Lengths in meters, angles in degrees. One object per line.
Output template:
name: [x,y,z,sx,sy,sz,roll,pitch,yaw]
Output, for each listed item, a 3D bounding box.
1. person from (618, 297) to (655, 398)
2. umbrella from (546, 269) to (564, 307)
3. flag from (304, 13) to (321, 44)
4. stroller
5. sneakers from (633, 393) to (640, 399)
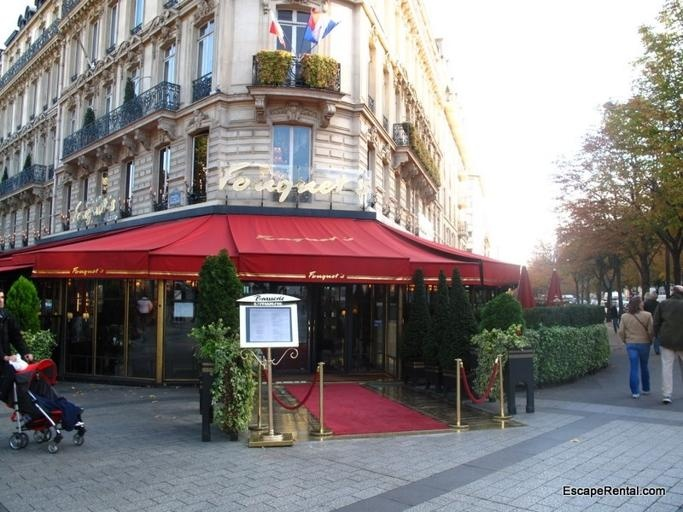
person: [6.880,2.096,14.052,0.724,2.334,0.624,0,-1,-7]
umbrella: [6.641,0.975,18.789,0.387,1.100,1.650,-1,-1,20]
flag: [-0.827,-6.963,18.415,0.466,0.072,1.204,1,-32,-12]
stroller: [-5.344,2.581,10.866,1.394,1.637,0.875,-1,-1,17]
sneakers: [6.813,3.215,13.937,0.217,0.098,0.103,0,-1,-18]
